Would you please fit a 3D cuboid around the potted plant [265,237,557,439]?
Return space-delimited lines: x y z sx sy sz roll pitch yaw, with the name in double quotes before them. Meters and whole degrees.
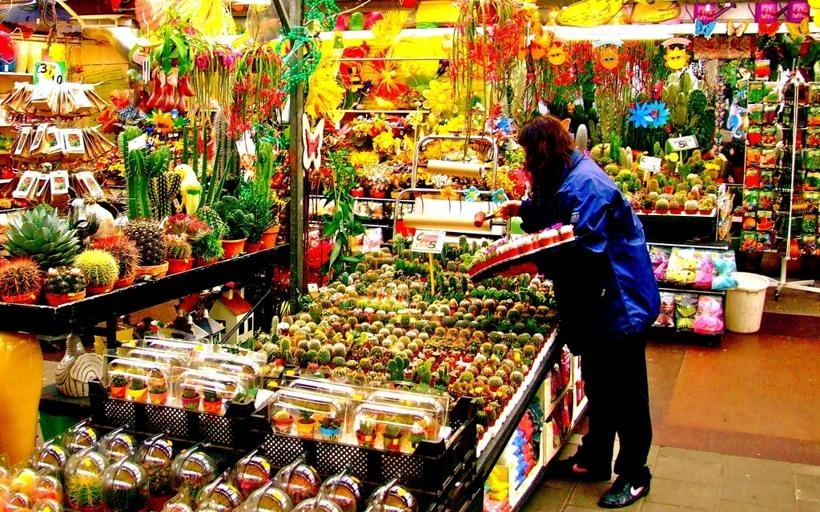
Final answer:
"potted plant" 0.026 0.456 3.948 1.370 0.420 1.040 12 25 30

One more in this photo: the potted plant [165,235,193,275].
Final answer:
"potted plant" -1.319 -0.010 3.681 0.195 0.199 0.192 -5 15 -21

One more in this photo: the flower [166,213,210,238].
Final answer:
"flower" -1.307 -0.164 3.782 0.166 0.090 0.168 14 5 27

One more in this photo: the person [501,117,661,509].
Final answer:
"person" 1.079 0.374 3.869 0.844 2.362 0.408 5 11 21

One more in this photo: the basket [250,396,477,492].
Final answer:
"basket" -0.137 0.904 2.833 0.512 0.169 0.530 4 4 30

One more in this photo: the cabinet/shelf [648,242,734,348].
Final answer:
"cabinet/shelf" 2.762 0.385 6.355 0.810 0.916 0.452 6 11 24

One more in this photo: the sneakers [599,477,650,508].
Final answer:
"sneakers" 1.321 1.494 4.030 0.360 0.135 0.135 -10 14 -22

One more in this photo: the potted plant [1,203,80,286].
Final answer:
"potted plant" -1.842 -0.078 3.213 0.336 0.284 0.335 -1 1 18

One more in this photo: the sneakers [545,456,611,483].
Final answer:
"sneakers" 1.092 1.418 4.240 0.452 0.173 0.154 -1 9 15

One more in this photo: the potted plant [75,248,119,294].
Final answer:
"potted plant" -1.548 0.079 3.235 0.214 0.206 0.205 -5 21 -22

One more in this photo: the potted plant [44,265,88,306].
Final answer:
"potted plant" -1.663 0.141 3.148 0.191 0.181 0.185 -2 11 -19

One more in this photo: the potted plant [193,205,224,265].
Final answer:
"potted plant" -1.200 -0.126 3.895 0.191 0.314 0.198 -7 -2 -12
